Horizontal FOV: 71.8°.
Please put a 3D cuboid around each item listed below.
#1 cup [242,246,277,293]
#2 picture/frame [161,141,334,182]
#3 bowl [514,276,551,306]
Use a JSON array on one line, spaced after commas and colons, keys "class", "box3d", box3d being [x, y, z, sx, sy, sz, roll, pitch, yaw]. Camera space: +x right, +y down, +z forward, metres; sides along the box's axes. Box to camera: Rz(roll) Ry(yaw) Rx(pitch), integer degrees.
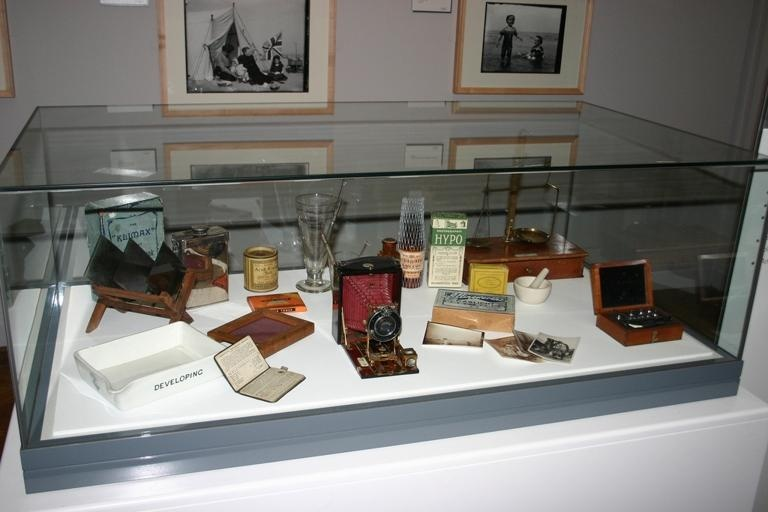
[{"class": "cup", "box3d": [-0.473, 0.048, 2.047, 0.137, 0.140, 0.131, 4, 19, -1]}, {"class": "picture/frame", "box3d": [-0.364, -0.268, 1.439, 0.463, 0.071, 0.264, -4, 17, -10]}, {"class": "bowl", "box3d": [0.575, 0.139, 2.106, 0.120, 0.068, 0.115, 0, 17, 0]}]
